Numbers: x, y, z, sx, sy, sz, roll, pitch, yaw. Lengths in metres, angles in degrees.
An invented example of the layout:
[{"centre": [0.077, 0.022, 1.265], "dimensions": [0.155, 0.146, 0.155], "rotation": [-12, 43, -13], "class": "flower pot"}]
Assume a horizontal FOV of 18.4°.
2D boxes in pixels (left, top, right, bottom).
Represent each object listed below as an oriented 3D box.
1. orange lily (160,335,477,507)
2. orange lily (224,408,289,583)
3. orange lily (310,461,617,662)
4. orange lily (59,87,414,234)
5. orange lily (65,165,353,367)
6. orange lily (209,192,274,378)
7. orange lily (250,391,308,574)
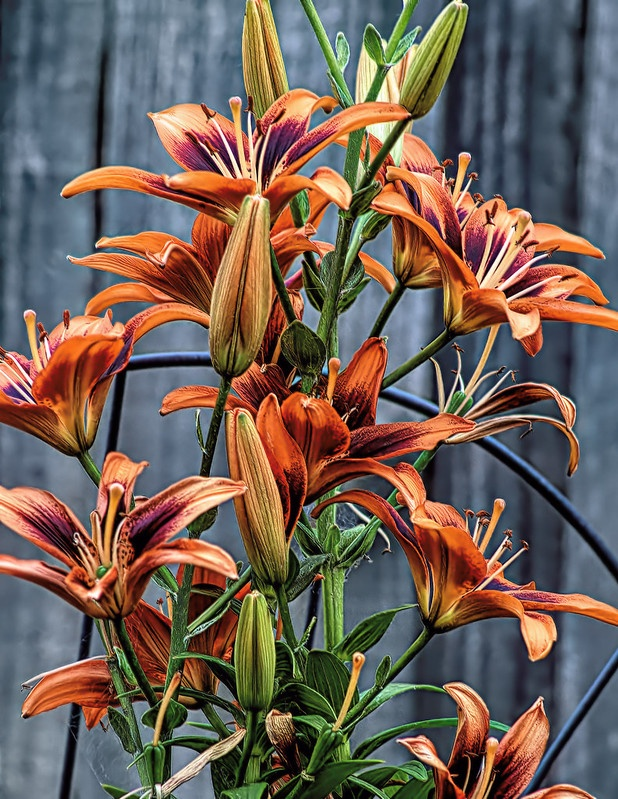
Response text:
[{"centre": [0.012, 0.017, 1.689], "dimensions": [0.145, 0.081, 0.168], "rotation": [2, 38, -12], "class": "orange lily"}, {"centre": [-0.050, 0.084, 1.652], "dimensions": [0.032, 0.143, 0.074], "rotation": [-21, 37, -29], "class": "orange lily"}, {"centre": [0.126, 0.147, 1.687], "dimensions": [0.209, 0.079, 0.194], "rotation": [43, -3, -1], "class": "orange lily"}, {"centre": [-0.066, -0.213, 1.697], "dimensions": [0.301, 0.124, 0.154], "rotation": [-1, 36, 3], "class": "orange lily"}, {"centre": [-0.108, -0.128, 1.648], "dimensions": [0.162, 0.125, 0.197], "rotation": [11, 32, 3], "class": "orange lily"}, {"centre": [-0.058, -0.097, 1.644], "dimensions": [0.070, 0.140, 0.053], "rotation": [-14, 33, -17], "class": "orange lily"}, {"centre": [-0.028, 0.069, 1.669], "dimensions": [0.031, 0.159, 0.026], "rotation": [-6, 0, 30], "class": "orange lily"}]
